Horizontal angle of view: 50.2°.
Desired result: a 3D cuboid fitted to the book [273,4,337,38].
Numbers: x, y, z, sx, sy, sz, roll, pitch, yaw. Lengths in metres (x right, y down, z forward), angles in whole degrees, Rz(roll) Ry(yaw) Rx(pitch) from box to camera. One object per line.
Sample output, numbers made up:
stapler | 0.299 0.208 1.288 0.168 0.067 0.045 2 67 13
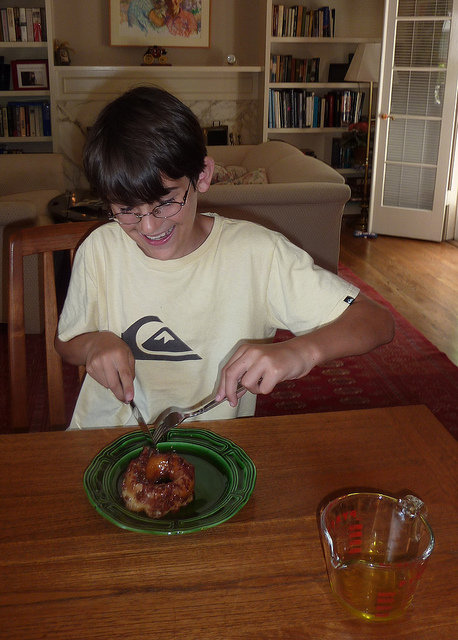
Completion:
book | 0.767 -3.053 4.995 0.674 0.280 0.121 -4 19 -12

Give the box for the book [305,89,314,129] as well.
book | 0.845 -2.226 5.142 0.094 0.306 0.225 -3 15 -4

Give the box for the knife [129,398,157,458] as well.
knife | -0.143 0.176 0.812 0.012 0.113 0.013 -24 -9 23

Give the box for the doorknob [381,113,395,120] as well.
doorknob | 1.519 -1.951 4.663 0.104 0.056 0.037 16 6 2

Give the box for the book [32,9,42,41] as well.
book | -1.874 -2.868 4.741 0.078 0.269 0.023 -7 20 -18

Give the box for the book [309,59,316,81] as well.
book | 0.871 -2.621 5.115 0.071 0.194 0.017 -5 19 -14

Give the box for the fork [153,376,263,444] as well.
fork | -0.050 0.157 0.878 0.295 0.033 0.040 -24 37 -38

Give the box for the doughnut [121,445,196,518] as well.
doughnut | -0.094 0.206 0.633 0.099 0.037 0.106 -3 23 -22

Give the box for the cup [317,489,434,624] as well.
cup | 0.153 0.234 0.491 0.121 0.087 0.095 -11 21 -28

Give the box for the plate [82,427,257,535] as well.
plate | -0.076 0.208 0.645 0.218 0.031 0.204 -10 15 -27

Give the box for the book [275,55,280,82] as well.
book | 0.501 -2.608 5.058 0.043 0.249 0.022 -11 22 -29
